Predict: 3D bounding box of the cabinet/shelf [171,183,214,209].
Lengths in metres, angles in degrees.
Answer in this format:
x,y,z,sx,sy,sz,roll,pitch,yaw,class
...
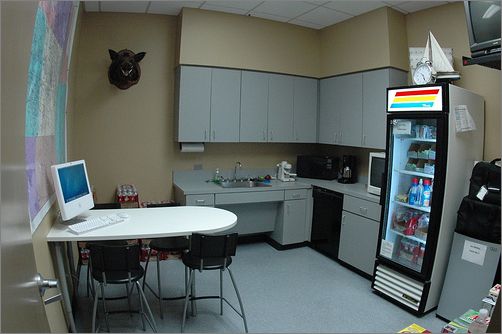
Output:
x,y,z,sx,sy,sz,roll,pitch,yaw,class
-0.799,0.377,4.909,0.535,0.289,0.397,0,10,-23,cabinet/shelf

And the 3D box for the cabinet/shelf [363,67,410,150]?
x,y,z,sx,sy,sz,roll,pitch,yaw,class
1.789,-0.764,4.744,0.291,1.068,0.600,1,4,-16,cabinet/shelf

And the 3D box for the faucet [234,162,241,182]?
x,y,z,sx,sy,sz,roll,pitch,yaw,class
-0.190,0.062,5.486,0.181,0.276,0.091,-8,16,-38,faucet

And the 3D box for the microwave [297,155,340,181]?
x,y,z,sx,sy,sz,roll,pitch,yaw,class
1.043,0.010,5.486,0.628,0.378,0.361,7,6,29,microwave

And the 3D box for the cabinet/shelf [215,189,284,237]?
x,y,z,sx,sy,sz,roll,pitch,yaw,class
-0.019,0.593,5.202,1.193,0.804,0.619,-1,-1,-24,cabinet/shelf

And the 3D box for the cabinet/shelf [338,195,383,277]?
x,y,z,sx,sy,sz,roll,pitch,yaw,class
1.416,0.870,4.530,0.409,0.877,0.524,2,6,-21,cabinet/shelf

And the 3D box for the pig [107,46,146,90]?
x,y,z,sx,sy,sz,roll,pitch,yaw,class
-1.693,-1.319,4.685,0.501,0.565,0.358,4,9,-18,pig

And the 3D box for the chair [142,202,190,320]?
x,y,z,sx,sy,sz,roll,pitch,yaw,class
-0.970,0.992,3.858,0.513,1.102,0.717,1,5,-16,chair

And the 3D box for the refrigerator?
x,y,z,sx,sy,sz,roll,pitch,yaw,class
2.007,0.189,4.073,0.789,3.294,0.987,-2,8,-25,refrigerator

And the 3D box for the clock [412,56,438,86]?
x,y,z,sx,sy,sz,roll,pitch,yaw,class
1.891,-1.025,3.770,0.088,0.241,0.228,-4,14,-25,clock

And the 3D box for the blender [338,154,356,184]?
x,y,z,sx,sy,sz,roll,pitch,yaw,class
1.475,0.026,5.262,0.209,0.421,0.222,2,4,-18,blender

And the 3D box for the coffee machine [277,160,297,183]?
x,y,z,sx,sy,sz,roll,pitch,yaw,class
0.596,0.082,5.615,0.265,0.329,0.330,-1,0,-33,coffee machine
